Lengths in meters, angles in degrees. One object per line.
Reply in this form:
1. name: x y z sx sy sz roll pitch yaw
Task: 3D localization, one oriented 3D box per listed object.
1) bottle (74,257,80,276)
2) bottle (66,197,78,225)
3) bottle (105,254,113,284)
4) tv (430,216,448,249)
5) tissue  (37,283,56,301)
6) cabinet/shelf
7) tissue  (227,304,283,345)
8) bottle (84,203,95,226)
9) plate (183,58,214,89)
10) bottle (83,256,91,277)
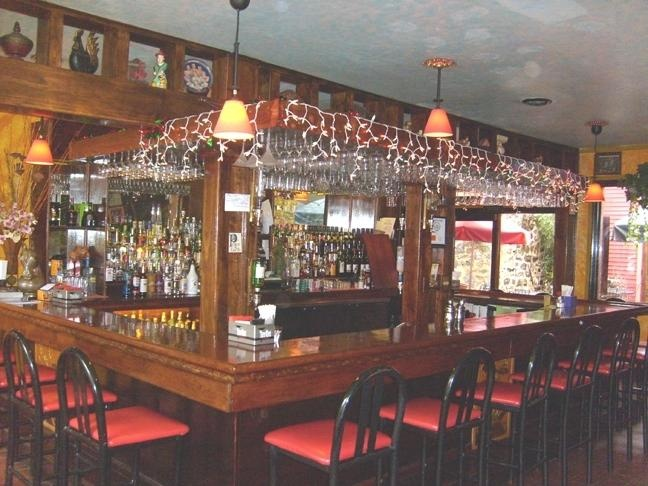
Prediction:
1. bottle: -2.741 0.277 7.224 0.067 0.181 0.239 1 0 -21
2. bottle: -2.826 -0.324 7.325 0.101 0.268 0.190 1 0 -22
3. bottle: -2.425 0.312 7.348 0.099 0.243 0.291 1 0 -17
4. tv: 1.272 -0.123 7.302 0.362 0.479 0.052 -1 2 -39
5. tissue : -2.627 0.468 6.206 0.170 0.167 0.160 -1 -5 35
6. cabinet/shelf: -2.436 -0.443 7.240 0.901 1.683 1.776 1 -1 35
7. tissue : -0.493 0.537 4.503 0.292 0.294 0.294 4 -4 -42
8. bottle: -2.633 -0.305 7.303 0.114 0.274 0.108 1 0 0
9. plate: -1.229 -1.629 6.276 0.322 0.358 0.212 1 0 -28
10. bottle: -2.673 0.263 7.321 0.091 0.225 0.097 1 0 0
